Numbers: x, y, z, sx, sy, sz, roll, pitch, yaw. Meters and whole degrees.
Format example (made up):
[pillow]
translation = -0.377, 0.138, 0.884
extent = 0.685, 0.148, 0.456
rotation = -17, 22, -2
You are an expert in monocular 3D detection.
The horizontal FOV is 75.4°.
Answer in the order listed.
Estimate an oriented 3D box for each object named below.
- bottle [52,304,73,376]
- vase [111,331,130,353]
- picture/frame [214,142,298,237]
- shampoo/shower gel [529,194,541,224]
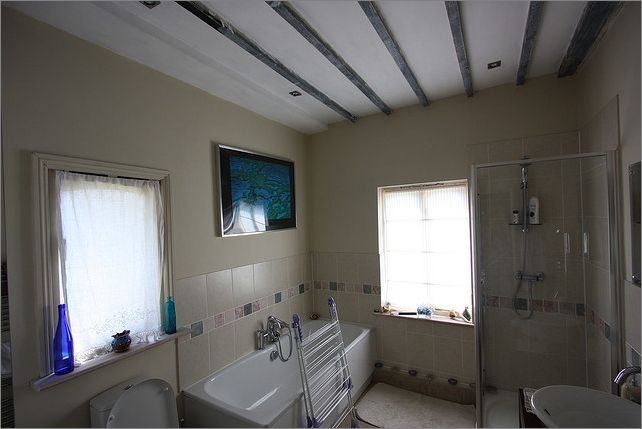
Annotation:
[bottle]
translation = -1.845, 0.893, 2.970
extent = 0.117, 0.500, 0.067
rotation = -2, -2, -40
[vase]
translation = -1.518, 0.976, 3.221
extent = 0.132, 0.137, 0.137
rotation = 0, 2, -1
[picture/frame]
translation = -0.689, -0.256, 4.185
extent = 0.039, 0.758, 0.984
rotation = 0, 3, 33
[shampoo/shower gel]
translation = 1.761, -0.033, 3.458
extent = 0.086, 0.253, 0.026
rotation = -4, -2, 9
